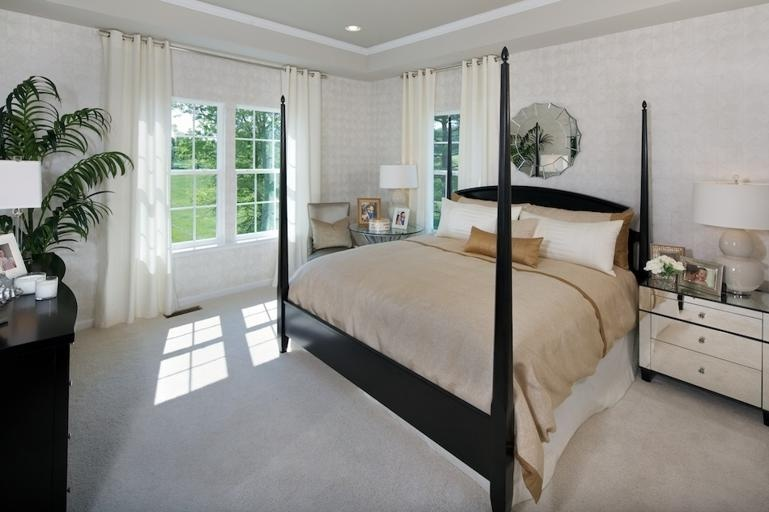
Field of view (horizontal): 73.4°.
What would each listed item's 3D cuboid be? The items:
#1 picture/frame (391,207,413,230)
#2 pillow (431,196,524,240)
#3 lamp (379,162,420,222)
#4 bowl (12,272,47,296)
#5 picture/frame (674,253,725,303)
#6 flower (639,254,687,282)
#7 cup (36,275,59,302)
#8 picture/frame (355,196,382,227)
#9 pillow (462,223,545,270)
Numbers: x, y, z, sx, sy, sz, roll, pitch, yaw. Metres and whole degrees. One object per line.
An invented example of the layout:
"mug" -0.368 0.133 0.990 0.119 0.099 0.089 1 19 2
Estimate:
"picture/frame" 0.212 -0.495 6.590 0.265 0.351 0.034 4 -5 31
"pillow" 0.933 -0.378 5.060 0.150 0.309 0.519 24 -10 -37
"lamp" 0.202 -0.821 6.498 0.575 0.955 0.604 -2 10 -6
"bowl" -2.509 0.190 3.626 0.156 0.103 0.150 2 1 0
"picture/frame" 2.669 0.199 4.376 0.040 0.367 0.365 10 -1 -38
"flower" 2.428 0.106 4.519 0.225 0.170 0.237 5 -4 -6
"cup" -2.330 0.204 3.647 0.115 0.203 0.217 1 3 7
"picture/frame" -0.205 -0.586 6.812 0.402 0.509 0.037 1 4 -9
"pillow" 1.112 -0.111 4.845 0.683 0.242 0.203 11 -6 1
